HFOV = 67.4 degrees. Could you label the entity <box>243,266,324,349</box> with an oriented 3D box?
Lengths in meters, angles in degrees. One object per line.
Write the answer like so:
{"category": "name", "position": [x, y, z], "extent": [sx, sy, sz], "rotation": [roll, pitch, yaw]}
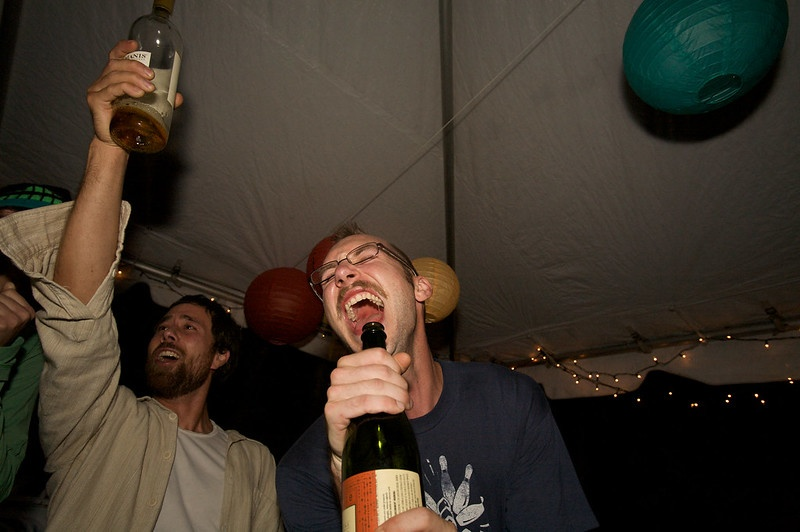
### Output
{"category": "entity", "position": [-1.195, 0.493, 6.151], "extent": [0.860, 1.021, 0.864], "rotation": [-3, -8, 12]}

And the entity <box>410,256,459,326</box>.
{"category": "entity", "position": [0.440, 0.235, 5.913], "extent": [0.565, 0.648, 0.564], "rotation": [0, 5, 45]}

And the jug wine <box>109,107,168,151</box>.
{"category": "jug wine", "position": [-1.710, -0.882, 3.904], "extent": [0.388, 0.226, 0.238], "rotation": [-6, -20, 19]}
